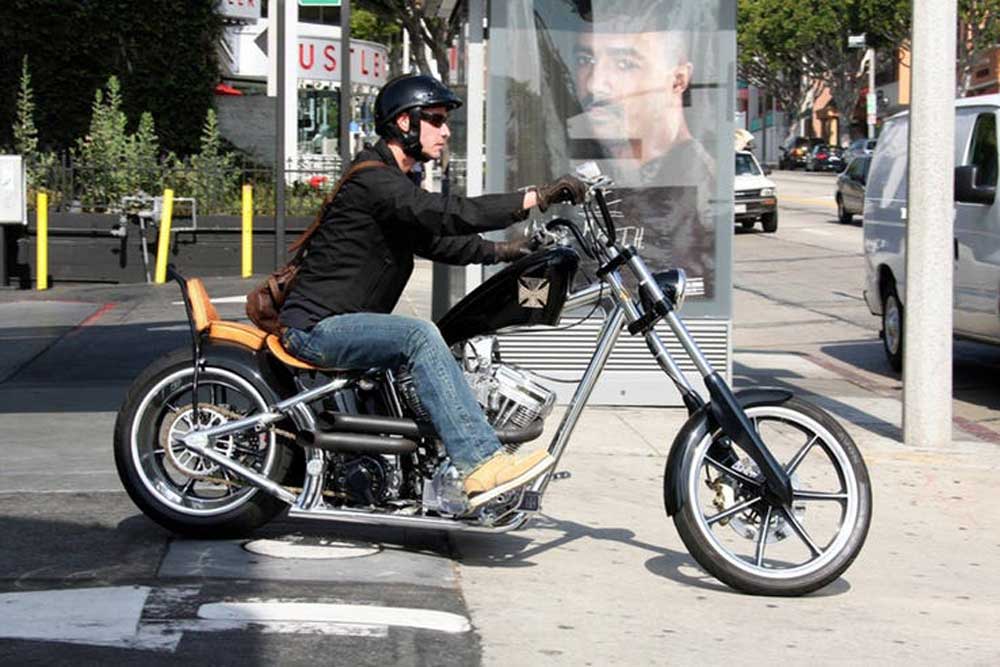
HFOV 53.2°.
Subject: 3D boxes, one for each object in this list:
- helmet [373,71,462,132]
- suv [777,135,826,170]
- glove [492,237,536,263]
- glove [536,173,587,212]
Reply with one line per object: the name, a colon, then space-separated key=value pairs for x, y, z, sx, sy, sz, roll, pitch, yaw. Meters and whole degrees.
helmet: x=-0.431 y=-1.193 z=5.327 sx=0.417 sy=0.270 sz=0.299 roll=10 pitch=-3 yaw=4
suv: x=20.239 y=-12.144 z=67.520 sx=2.273 sy=1.449 sz=3.260 roll=-1 pitch=11 yaw=-3
glove: x=0.075 y=-0.423 z=5.125 sx=0.159 sy=0.122 sz=0.055 roll=-14 pitch=-31 yaw=28
glove: x=0.316 y=-0.683 z=4.783 sx=0.167 sy=0.092 sz=0.216 roll=-9 pitch=16 yaw=34
